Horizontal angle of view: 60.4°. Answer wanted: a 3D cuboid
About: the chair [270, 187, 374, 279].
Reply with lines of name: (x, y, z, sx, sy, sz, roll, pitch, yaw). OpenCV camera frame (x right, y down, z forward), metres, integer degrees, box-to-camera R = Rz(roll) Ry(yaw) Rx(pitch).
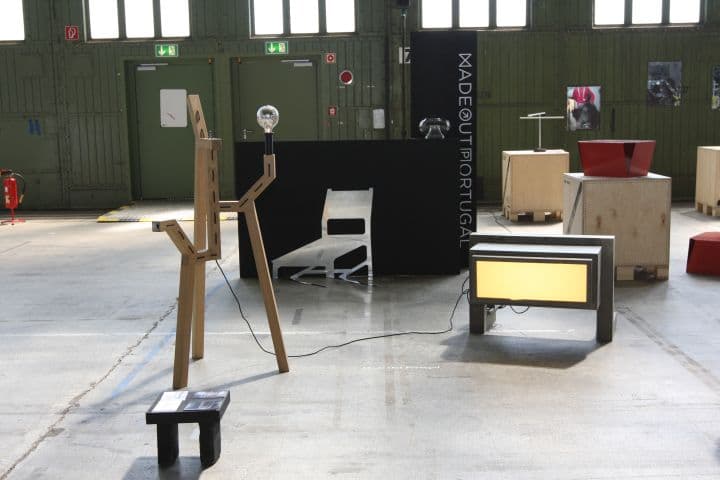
chair: (-0.474, -0.050, 7.990, 1.370, 1.090, 0.530, -1, 6, -5)

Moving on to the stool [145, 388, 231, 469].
stool: (-1.103, 1.214, 4.016, 0.498, 0.387, 0.491, -1, -5, -8)

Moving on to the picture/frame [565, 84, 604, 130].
picture/frame: (5.246, -3.183, 14.480, 0.998, 1.266, 0.133, 0, 9, 3)

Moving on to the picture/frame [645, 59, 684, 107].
picture/frame: (7.077, -3.711, 14.360, 1.103, 1.419, 0.149, 0, 5, 7)
